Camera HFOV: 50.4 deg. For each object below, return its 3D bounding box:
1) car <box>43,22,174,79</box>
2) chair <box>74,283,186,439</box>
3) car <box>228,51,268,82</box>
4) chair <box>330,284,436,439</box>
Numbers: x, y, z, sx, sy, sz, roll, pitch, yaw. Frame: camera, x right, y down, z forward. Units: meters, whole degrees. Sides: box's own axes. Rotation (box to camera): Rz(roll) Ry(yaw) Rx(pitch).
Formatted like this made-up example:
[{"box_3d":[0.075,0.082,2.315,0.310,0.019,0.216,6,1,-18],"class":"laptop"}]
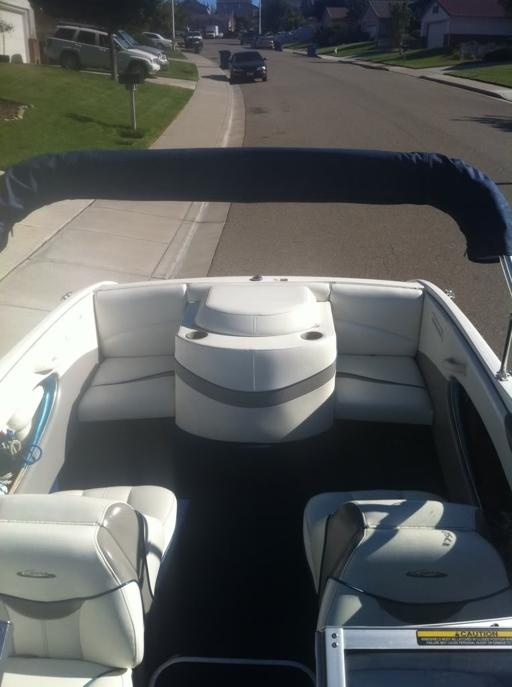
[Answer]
[{"box_3d":[-5.564,-10.854,20.051,3.529,1.505,2.258,14,28,21],"class":"car"},{"box_3d":[-0.796,0.130,3.696,0.567,0.796,0.909,1,45,-3],"class":"chair"},{"box_3d":[-0.359,-12.732,25.093,1.666,1.260,2.003,3,26,0],"class":"car"},{"box_3d":[0.774,0.136,3.658,0.591,0.798,0.914,1,44,5],"class":"chair"}]
